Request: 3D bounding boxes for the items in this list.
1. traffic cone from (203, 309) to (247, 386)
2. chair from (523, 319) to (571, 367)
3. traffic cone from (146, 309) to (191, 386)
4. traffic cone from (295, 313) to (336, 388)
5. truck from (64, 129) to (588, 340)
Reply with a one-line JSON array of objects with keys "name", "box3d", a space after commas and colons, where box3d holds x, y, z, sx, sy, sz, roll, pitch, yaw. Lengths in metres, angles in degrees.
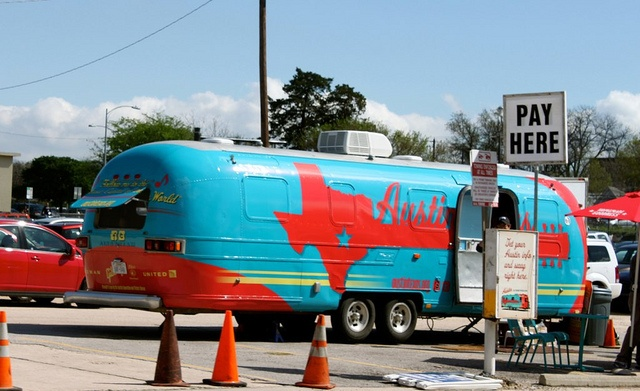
[{"name": "traffic cone", "box3d": [-1.679, 2.697, 15.439, 0.694, 1.306, 0.680, 0, -3, -1]}, {"name": "chair", "box3d": [4.685, 3.005, 18.135, 0.787, 0.994, 0.963, -2, -9, 33]}, {"name": "traffic cone", "box3d": [-2.600, 2.626, 15.017, 0.670, 1.225, 0.368, 3, -1, -10]}, {"name": "traffic cone", "box3d": [-0.049, 2.787, 15.730, 0.799, 1.237, 0.721, 1, 0, 1]}, {"name": "truck", "box3d": [0.842, 1.144, 21.409, 13.209, 4.160, 4.845, 1, -1, -28]}]
